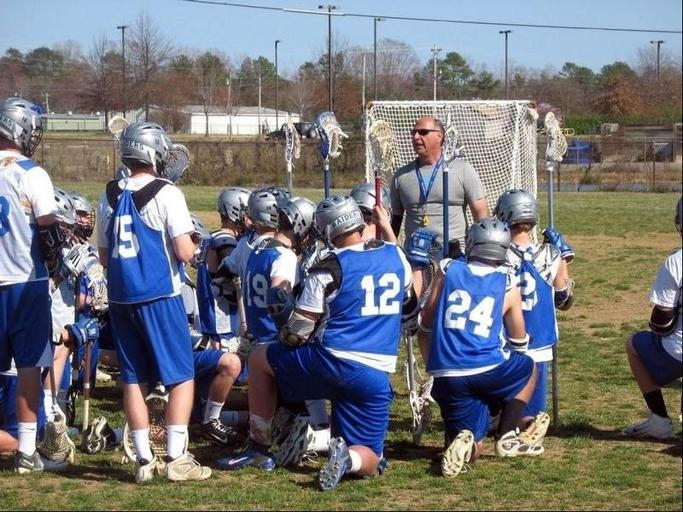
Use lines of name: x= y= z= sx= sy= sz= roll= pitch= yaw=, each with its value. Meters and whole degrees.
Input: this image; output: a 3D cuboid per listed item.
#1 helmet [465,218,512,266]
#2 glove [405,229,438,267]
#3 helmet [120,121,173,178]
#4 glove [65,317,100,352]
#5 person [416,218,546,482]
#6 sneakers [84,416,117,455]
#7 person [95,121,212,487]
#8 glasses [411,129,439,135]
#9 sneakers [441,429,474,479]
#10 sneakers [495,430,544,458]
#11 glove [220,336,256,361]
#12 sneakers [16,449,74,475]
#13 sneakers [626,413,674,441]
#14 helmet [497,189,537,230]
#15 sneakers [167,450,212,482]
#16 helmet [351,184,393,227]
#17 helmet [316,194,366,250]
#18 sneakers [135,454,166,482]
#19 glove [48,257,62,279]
helmet: x=1.442 y=-0.123 z=10.667 sx=0.338 sy=0.437 sz=0.457 roll=6 pitch=17 yaw=-9
glove: x=0.864 y=-0.088 z=11.527 sx=0.253 sy=0.485 sz=0.167 roll=10 pitch=-26 yaw=18
helmet: x=-1.894 y=-1.059 z=10.491 sx=0.396 sy=0.528 sz=0.540 roll=6 pitch=9 yaw=22
glove: x=-2.648 y=0.779 z=11.114 sx=0.360 sy=0.234 sz=0.166 roll=-17 pitch=1 yaw=-13
person: x=1.413 y=0.881 z=10.741 sx=1.095 sy=2.425 sz=0.784 roll=-3 pitch=11 yaw=-15
sneakers: x=-2.477 y=1.844 z=11.060 sx=0.189 sy=0.227 sz=0.491 roll=7 pitch=38 yaw=4
person: x=-1.804 y=0.446 z=10.811 sx=1.104 sy=3.503 sz=1.105 roll=-1 pitch=-2 yaw=-21
glasses: x=0.925 y=-1.412 z=12.229 sx=0.298 sy=0.086 sz=0.106 roll=4 pitch=12 yaw=17
sneakers: x=1.138 y=1.929 z=10.623 sx=0.292 sy=0.474 sz=0.147 roll=22 pitch=2 yaw=-2
sneakers: x=1.781 y=1.911 z=11.092 sx=0.533 sy=0.279 sz=0.218 roll=-2 pitch=3 yaw=-6
glove: x=-1.113 y=0.970 z=11.647 sx=0.309 sy=0.139 sz=0.326 roll=8 pitch=-6 yaw=-19
sneakers: x=-2.950 y=2.026 z=10.731 sx=0.510 sy=0.232 sz=0.186 roll=-1 pitch=1 yaw=-21
sneakers: x=3.269 y=1.810 z=11.367 sx=0.548 sy=0.296 sz=0.209 roll=2 pitch=-4 yaw=3
helmet: x=1.805 y=-0.493 z=11.350 sx=0.320 sy=0.412 sz=0.432 roll=2 pitch=13 yaw=-8
sneakers: x=-1.488 y=2.058 z=10.568 sx=0.487 sy=0.269 sz=0.193 roll=1 pitch=1 yaw=-13
helmet: x=0.352 y=-0.557 z=11.823 sx=0.360 sy=0.422 sz=0.449 roll=9 pitch=2 yaw=29
helmet: x=-0.031 y=-0.392 z=10.442 sx=0.477 sy=0.438 sz=0.383 roll=-37 pitch=-1 yaw=15
sneakers: x=-1.827 y=2.055 z=10.554 sx=0.151 sy=0.201 sz=0.458 roll=0 pitch=4 yaw=18
glove: x=-2.812 y=0.096 z=10.601 sx=0.122 sy=0.204 sz=0.194 roll=7 pitch=-23 yaw=-6
